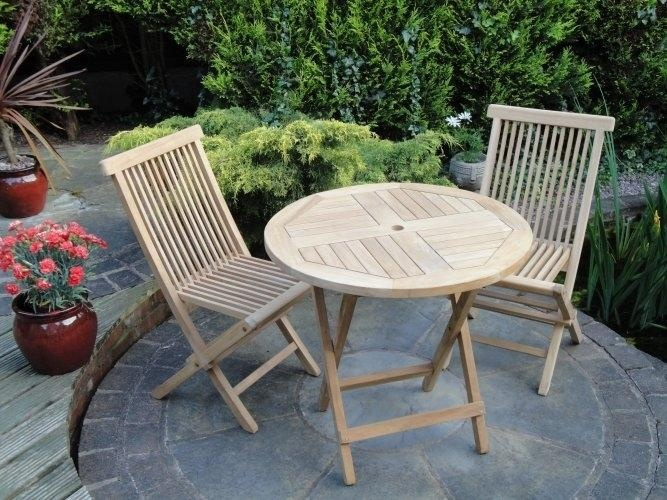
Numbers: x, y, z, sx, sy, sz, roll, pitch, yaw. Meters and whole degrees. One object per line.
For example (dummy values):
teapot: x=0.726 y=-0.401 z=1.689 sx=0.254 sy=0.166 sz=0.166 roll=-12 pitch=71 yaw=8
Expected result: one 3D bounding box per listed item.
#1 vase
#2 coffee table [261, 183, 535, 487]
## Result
vase: x=-1.565 y=0.494 z=3.150 sx=0.587 sy=0.375 sz=0.483 roll=4 pitch=18 yaw=6
coffee table: x=0.352 y=0.329 z=3.280 sx=1.726 sy=1.195 sz=1.594 roll=-10 pitch=31 yaw=-17
